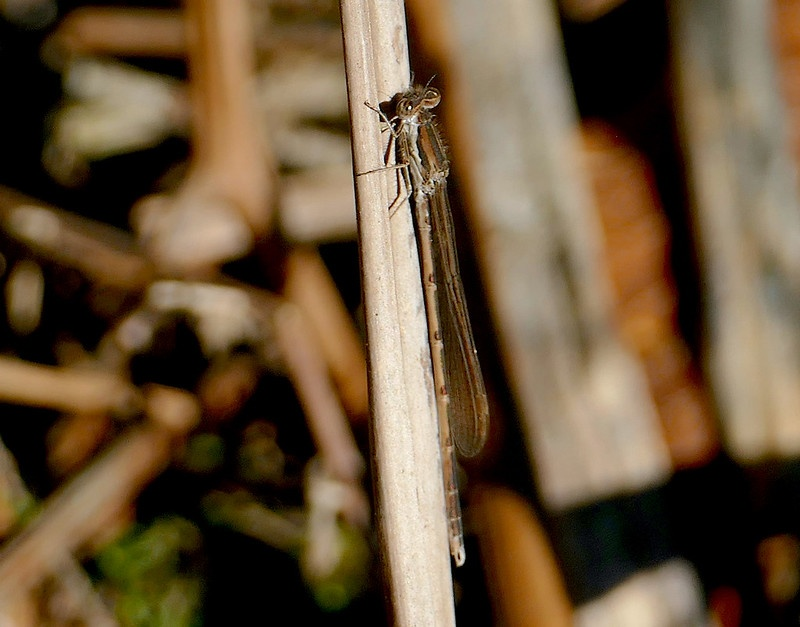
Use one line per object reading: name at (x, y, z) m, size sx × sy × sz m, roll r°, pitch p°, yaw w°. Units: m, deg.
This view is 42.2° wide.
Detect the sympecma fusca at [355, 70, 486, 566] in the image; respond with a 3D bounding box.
sympecma fusca at (0.021, 0.008, 0.936) m, size 0.093 × 0.098 × 0.435 m, roll -1°, pitch 98°, yaw 42°
